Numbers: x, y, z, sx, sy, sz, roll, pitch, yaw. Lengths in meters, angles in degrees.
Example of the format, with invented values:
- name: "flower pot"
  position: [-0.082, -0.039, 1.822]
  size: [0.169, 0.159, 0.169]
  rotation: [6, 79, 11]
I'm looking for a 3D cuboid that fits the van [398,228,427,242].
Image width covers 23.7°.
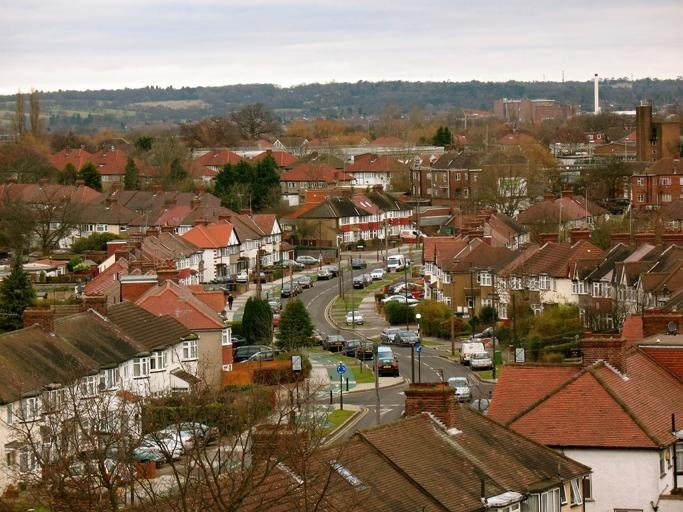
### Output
- name: "van"
  position: [6.793, -1.794, 154.881]
  size: [2.308, 1.149, 1.440]
  rotation: [-2, 3, 43]
